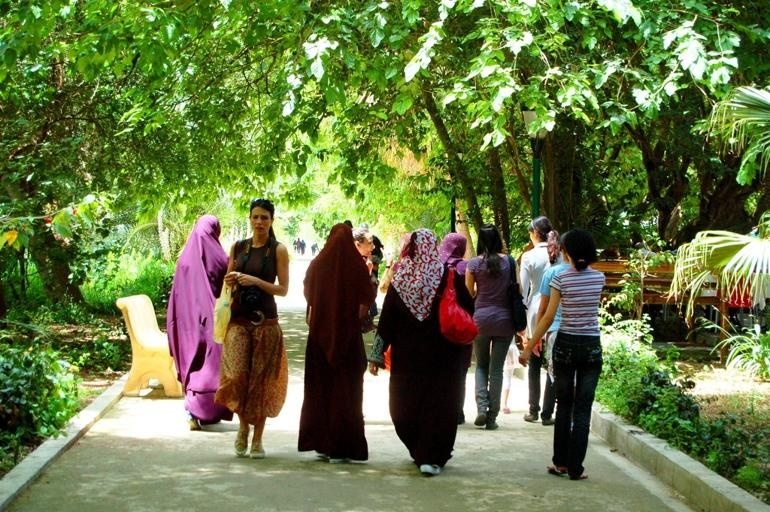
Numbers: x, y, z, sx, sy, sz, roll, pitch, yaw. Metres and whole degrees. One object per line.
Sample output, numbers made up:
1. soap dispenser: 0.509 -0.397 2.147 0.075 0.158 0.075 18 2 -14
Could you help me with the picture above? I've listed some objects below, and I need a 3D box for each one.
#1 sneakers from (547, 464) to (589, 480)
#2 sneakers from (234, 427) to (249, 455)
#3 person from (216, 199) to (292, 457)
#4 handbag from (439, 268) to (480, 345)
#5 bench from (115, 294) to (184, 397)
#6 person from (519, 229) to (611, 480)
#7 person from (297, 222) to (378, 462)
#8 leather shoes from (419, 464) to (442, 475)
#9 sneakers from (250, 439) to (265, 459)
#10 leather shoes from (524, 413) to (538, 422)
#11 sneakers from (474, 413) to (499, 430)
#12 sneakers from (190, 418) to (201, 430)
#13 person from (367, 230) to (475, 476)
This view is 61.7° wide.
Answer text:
1. sneakers: 1.879 2.243 6.662 0.139 0.183 0.440 11 -27 -35
2. sneakers: -1.541 2.030 7.091 0.124 0.330 0.173 7 -11 -25
3. person: -1.472 0.809 7.197 0.762 2.902 0.802 0 6 -10
4. handbag: 0.787 0.538 6.937 0.398 0.790 0.269 1 6 -5
5. bench: -3.705 1.452 10.092 0.881 1.124 1.597 0 2 -6
6. person: 1.932 0.997 6.574 0.550 2.533 0.411 2 6 14
7. person: -0.525 0.922 6.976 0.770 2.534 0.507 1 6 -2
8. leather shoes: 0.471 2.173 6.606 0.153 0.073 0.129 1 2 -41
9. sneakers: -1.383 2.096 7.007 0.164 0.192 0.145 0 6 -13
10. leather shoes: 2.014 2.227 8.898 0.081 0.078 0.185 1 3 -9
11. sneakers: 1.322 2.163 8.394 0.130 0.147 0.357 -1 -4 34
12. sneakers: -2.396 2.120 8.109 0.128 0.126 0.060 -5 -4 -14
13. person: 0.429 0.963 6.945 0.674 2.459 0.885 -4 8 -41
